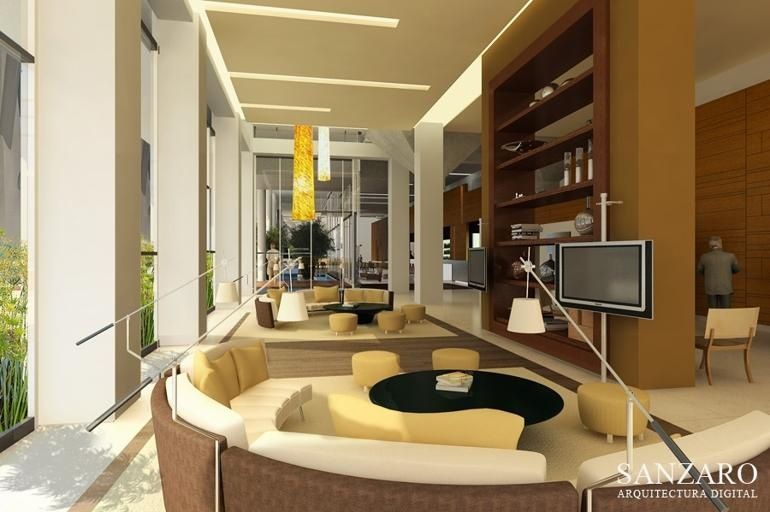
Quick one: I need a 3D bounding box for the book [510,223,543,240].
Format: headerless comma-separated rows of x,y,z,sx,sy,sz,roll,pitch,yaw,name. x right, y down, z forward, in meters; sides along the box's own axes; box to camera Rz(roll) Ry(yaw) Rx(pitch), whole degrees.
2.576,-0.448,8.813,0.311,0.212,0.414,0,0,-21,book

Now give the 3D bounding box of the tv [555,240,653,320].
3.069,0.316,6.558,0.087,0.813,1.199,-1,1,-29,tv

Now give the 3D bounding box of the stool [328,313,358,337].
-0.836,1.391,9.657,0.463,0.352,0.457,0,-4,-5,stool
